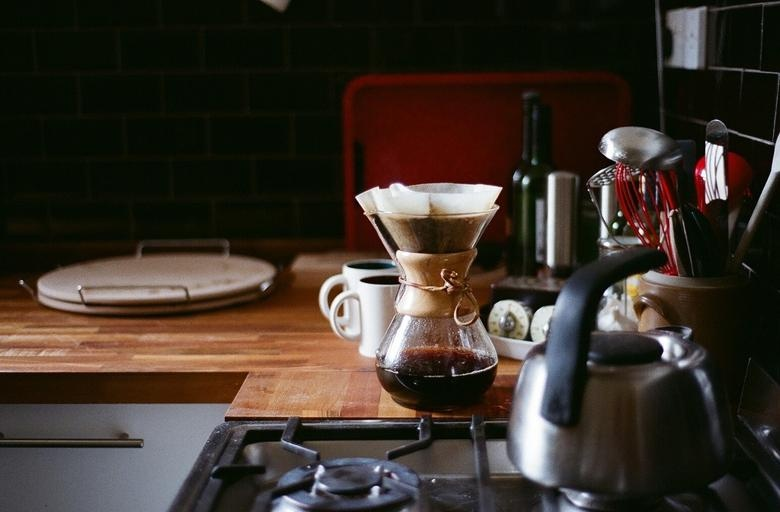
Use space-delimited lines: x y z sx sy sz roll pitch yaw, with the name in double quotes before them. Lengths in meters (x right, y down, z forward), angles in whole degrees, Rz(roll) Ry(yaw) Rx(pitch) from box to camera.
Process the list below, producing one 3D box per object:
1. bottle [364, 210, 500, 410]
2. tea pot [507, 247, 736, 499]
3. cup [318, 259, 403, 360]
"bottle" 0.063 0.079 0.893 0.176 0.279 0.117 -1 20 9
"tea pot" 0.252 0.116 0.793 0.242 0.260 0.279 3 8 43
"cup" -0.071 0.084 1.088 0.109 0.148 0.189 11 16 39
